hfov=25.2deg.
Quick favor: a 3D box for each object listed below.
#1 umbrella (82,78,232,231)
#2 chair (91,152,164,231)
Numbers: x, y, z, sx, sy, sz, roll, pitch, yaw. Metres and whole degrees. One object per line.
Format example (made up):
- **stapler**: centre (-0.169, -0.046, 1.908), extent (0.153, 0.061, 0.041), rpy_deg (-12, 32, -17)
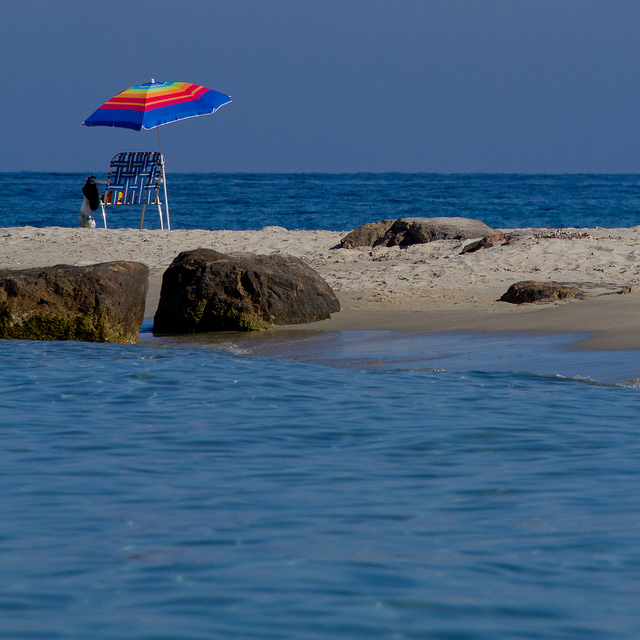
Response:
- **umbrella**: centre (-2.623, -3.209, 23.733), extent (2.037, 1.478, 1.646), rpy_deg (-5, 13, -24)
- **chair**: centre (-3.446, -2.159, 25.305), extent (1.301, 1.407, 1.218), rpy_deg (-2, 6, -23)
